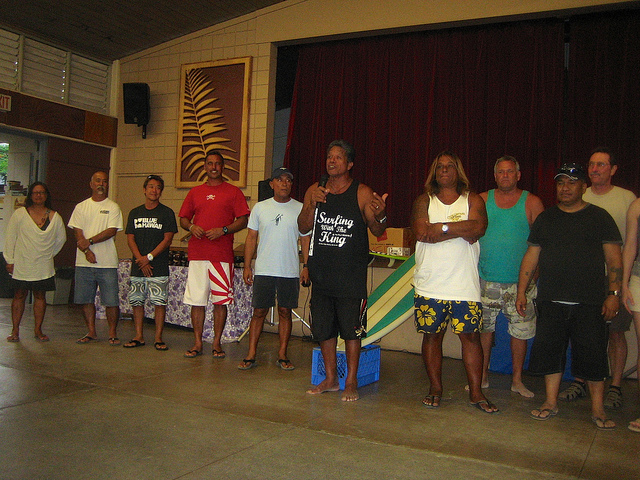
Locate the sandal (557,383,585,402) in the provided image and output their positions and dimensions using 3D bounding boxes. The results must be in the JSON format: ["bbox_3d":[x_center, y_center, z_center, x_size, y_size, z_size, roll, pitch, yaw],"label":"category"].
[{"bbox_3d":[2.253,1.367,4.896,0.404,0.174,0.142,8,-8,-35],"label":"sandal"}]

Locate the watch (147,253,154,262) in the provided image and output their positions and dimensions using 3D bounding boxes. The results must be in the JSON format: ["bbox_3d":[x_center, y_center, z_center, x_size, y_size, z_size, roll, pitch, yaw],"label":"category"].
[{"bbox_3d":[-1.847,0.186,5.940,0.041,0.063,0.058,-9,1,-9],"label":"watch"}]

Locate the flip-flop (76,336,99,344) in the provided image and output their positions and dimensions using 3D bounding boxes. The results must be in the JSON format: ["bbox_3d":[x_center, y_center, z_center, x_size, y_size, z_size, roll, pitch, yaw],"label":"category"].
[{"bbox_3d":[-2.608,1.132,6.124,0.128,0.067,0.276,3,3,17],"label":"flip-flop"}]

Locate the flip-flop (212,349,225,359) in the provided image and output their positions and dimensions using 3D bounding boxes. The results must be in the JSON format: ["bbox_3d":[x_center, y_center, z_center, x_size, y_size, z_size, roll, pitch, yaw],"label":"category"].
[{"bbox_3d":[-1.061,1.203,5.742,0.121,0.086,0.134,2,3,-10],"label":"flip-flop"}]

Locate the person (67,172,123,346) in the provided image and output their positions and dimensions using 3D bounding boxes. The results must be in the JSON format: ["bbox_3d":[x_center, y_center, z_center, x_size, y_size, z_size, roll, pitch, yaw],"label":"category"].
[{"bbox_3d":[-2.555,0.193,6.178,0.556,1.948,0.565,1,3,-23],"label":"person"}]

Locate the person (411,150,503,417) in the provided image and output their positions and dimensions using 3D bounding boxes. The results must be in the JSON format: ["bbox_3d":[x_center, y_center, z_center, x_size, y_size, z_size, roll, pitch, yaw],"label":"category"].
[{"bbox_3d":[1.138,0.326,4.578,0.725,2.117,0.724,3,3,13],"label":"person"}]

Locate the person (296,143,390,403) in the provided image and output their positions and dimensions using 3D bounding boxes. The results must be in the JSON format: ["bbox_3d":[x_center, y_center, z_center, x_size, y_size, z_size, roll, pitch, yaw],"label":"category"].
[{"bbox_3d":[0.163,0.257,4.642,0.709,2.171,0.740,2,3,-3],"label":"person"}]

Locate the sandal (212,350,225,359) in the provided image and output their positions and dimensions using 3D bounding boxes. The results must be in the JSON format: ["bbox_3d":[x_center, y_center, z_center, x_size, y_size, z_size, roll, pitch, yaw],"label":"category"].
[{"bbox_3d":[-1.063,1.211,5.717,0.075,0.077,0.207,1,-4,-2],"label":"sandal"}]

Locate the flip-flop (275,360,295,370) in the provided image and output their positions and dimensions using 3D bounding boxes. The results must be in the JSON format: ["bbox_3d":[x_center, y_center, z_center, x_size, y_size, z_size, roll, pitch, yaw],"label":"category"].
[{"bbox_3d":[-0.359,1.257,5.483,0.076,0.058,0.189,2,-2,-34],"label":"flip-flop"}]

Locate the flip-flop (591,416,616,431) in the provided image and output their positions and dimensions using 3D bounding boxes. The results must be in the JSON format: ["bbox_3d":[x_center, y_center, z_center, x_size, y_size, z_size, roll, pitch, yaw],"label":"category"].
[{"bbox_3d":[2.150,1.387,4.088,0.142,0.082,0.089,3,3,15],"label":"flip-flop"}]

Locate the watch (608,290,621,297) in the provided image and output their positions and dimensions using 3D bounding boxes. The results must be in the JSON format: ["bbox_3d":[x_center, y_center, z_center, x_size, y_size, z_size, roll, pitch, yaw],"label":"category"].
[{"bbox_3d":[2.259,0.399,4.135,0.067,0.045,0.072,0,-2,11],"label":"watch"}]

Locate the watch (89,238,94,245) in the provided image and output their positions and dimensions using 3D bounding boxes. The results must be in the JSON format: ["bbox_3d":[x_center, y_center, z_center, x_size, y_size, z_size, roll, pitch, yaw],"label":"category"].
[{"bbox_3d":[-2.550,0.011,6.063,0.049,0.071,0.023,-4,8,-6],"label":"watch"}]

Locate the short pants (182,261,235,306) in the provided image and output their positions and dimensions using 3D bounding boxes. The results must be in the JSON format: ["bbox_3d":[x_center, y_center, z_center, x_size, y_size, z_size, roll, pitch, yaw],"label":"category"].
[{"bbox_3d":[-1.170,0.401,5.813,0.569,0.559,0.317,5,15,-1],"label":"short pants"}]

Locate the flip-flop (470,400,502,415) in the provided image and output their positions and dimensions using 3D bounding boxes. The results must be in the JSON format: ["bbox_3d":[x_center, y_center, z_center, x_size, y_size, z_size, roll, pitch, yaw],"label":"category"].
[{"bbox_3d":[1.352,1.352,4.390,0.088,0.059,0.224,-3,-1,-29],"label":"flip-flop"}]

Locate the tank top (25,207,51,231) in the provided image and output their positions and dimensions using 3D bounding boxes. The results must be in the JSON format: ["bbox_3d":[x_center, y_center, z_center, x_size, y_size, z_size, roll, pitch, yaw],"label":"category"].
[{"bbox_3d":[-3.260,-0.209,6.252,0.186,0.326,0.313,5,-1,-15],"label":"tank top"}]

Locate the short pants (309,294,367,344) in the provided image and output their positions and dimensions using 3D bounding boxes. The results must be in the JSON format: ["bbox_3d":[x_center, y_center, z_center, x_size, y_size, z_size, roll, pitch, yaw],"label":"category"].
[{"bbox_3d":[0.144,0.597,4.682,0.507,0.510,0.314,-6,-6,20],"label":"short pants"}]

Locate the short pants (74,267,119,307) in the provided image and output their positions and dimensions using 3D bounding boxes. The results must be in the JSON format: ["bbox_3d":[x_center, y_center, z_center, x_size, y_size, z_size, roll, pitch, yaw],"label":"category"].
[{"bbox_3d":[-2.545,0.481,6.240,0.518,0.522,0.296,2,1,-5],"label":"short pants"}]

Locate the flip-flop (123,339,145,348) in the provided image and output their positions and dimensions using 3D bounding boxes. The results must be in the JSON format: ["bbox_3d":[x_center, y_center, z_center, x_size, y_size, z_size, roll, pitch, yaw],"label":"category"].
[{"bbox_3d":[-2.064,1.167,6.055,0.068,0.054,0.179,-2,-6,27],"label":"flip-flop"}]

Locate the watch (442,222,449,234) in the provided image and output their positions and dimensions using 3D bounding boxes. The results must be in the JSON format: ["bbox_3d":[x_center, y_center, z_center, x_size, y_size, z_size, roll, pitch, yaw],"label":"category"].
[{"bbox_3d":[0.985,-0.096,4.232,0.050,0.067,0.019,7,-1,29],"label":"watch"}]

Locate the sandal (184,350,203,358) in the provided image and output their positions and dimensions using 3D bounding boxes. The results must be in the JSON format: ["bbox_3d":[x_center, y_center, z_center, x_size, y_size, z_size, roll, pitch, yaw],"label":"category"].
[{"bbox_3d":[-1.323,1.204,5.716,0.065,0.046,0.168,-2,-9,22],"label":"sandal"}]

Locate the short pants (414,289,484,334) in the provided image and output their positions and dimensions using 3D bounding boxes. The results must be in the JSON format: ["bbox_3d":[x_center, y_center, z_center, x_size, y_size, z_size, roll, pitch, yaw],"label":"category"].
[{"bbox_3d":[1.060,0.480,4.437,0.524,0.385,0.301,2,-8,13],"label":"short pants"}]

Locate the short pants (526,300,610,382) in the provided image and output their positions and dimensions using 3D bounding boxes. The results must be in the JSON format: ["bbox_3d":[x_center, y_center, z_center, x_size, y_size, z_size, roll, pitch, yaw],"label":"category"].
[{"bbox_3d":[1.954,0.703,4.225,0.625,0.761,0.285,1,23,24],"label":"short pants"}]

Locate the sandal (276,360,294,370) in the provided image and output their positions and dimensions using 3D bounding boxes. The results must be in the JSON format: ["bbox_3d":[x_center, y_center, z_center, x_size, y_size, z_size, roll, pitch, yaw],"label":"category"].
[{"bbox_3d":[-0.352,1.257,5.480,0.073,0.056,0.183,0,2,-31],"label":"sandal"}]

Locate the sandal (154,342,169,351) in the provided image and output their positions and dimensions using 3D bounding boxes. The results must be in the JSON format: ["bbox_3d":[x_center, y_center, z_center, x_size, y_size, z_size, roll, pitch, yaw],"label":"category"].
[{"bbox_3d":[-1.732,1.173,5.957,0.113,0.064,0.128,0,4,-40],"label":"sandal"}]

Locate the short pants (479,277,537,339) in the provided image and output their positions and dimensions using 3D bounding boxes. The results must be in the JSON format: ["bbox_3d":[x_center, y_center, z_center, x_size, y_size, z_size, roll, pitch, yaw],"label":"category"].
[{"bbox_3d":[1.748,0.625,4.986,0.528,0.525,0.305,-3,-3,41],"label":"short pants"}]

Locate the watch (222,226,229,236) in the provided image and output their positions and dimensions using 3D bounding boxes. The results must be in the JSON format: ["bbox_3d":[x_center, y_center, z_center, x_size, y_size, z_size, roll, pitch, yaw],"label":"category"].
[{"bbox_3d":[-0.972,-0.102,5.642,0.053,0.085,0.074,-6,-2,-32],"label":"watch"}]

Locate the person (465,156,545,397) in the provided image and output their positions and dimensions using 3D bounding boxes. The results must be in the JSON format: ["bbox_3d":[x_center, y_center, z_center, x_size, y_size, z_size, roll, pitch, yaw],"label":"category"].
[{"bbox_3d":[1.665,0.354,4.956,0.709,2.202,0.705,9,19,34],"label":"person"}]

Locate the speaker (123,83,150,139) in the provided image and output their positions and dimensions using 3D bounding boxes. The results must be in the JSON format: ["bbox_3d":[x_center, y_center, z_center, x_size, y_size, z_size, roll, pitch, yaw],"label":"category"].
[{"bbox_3d":[-3.211,-2.393,9.502,0.511,0.702,0.209,3,3,19],"label":"speaker"}]

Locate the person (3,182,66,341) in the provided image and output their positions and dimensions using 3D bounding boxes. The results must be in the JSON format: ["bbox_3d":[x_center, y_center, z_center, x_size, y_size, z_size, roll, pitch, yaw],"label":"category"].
[{"bbox_3d":[-3.266,0.225,6.188,0.611,1.781,0.479,1,3,-22],"label":"person"}]

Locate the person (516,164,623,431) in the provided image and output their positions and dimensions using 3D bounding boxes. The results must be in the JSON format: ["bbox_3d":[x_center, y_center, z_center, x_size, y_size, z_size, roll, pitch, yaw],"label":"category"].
[{"bbox_3d":[2.049,0.414,4.468,0.796,2.029,0.852,3,3,25],"label":"person"}]

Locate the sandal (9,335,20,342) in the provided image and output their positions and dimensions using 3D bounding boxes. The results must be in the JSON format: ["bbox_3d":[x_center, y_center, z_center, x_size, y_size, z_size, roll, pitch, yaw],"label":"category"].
[{"bbox_3d":[-3.375,1.094,6.004,0.100,0.057,0.132,0,3,-33],"label":"sandal"}]

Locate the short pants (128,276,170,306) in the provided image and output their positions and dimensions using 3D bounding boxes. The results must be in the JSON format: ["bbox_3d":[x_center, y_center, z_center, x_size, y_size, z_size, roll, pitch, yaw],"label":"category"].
[{"bbox_3d":[-1.921,0.536,6.134,0.470,0.461,0.270,4,1,9],"label":"short pants"}]

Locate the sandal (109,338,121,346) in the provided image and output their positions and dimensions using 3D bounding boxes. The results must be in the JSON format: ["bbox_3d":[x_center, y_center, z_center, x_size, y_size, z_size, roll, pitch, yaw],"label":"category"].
[{"bbox_3d":[-2.276,1.141,6.059,0.111,0.069,0.122,0,4,-42],"label":"sandal"}]

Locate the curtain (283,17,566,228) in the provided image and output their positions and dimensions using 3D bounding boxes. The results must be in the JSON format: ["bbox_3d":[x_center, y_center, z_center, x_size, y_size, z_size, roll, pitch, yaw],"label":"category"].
[{"bbox_3d":[1.569,-1.681,7.239,3.179,2.232,0.239,4,1,18],"label":"curtain"}]

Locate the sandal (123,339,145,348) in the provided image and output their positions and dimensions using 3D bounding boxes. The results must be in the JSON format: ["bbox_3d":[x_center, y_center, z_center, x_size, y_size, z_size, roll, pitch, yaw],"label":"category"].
[{"bbox_3d":[-2.053,1.164,6.048,0.070,0.057,0.185,-3,-7,30],"label":"sandal"}]

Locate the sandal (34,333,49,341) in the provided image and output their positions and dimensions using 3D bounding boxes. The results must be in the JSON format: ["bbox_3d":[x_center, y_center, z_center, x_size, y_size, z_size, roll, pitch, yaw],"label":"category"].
[{"bbox_3d":[-3.114,1.100,6.117,0.176,0.055,0.110,4,4,38],"label":"sandal"}]

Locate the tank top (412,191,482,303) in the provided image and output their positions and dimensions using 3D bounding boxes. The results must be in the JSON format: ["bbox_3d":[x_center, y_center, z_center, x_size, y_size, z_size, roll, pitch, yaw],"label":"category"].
[{"bbox_3d":[1.025,0.035,4.305,0.502,0.857,0.251,2,3,20],"label":"tank top"}]
